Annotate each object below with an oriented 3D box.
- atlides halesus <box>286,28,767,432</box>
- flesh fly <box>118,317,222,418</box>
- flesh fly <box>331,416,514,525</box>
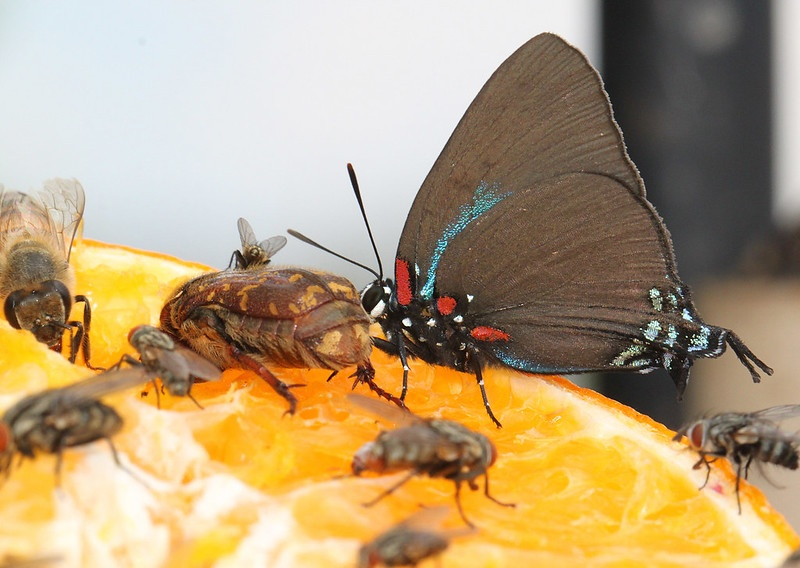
[{"bbox_3d":[0.580,-0.291,3.789,1.353,1.400,1.464,3,13,17],"label":"atlides halesus"},{"bbox_3d":[-0.677,0.224,2.762,0.278,0.091,0.220,38,46,25],"label":"flesh fly"},{"bbox_3d":[0.104,0.534,2.717,0.492,0.290,0.157,1,16,-12],"label":"flesh fly"}]
